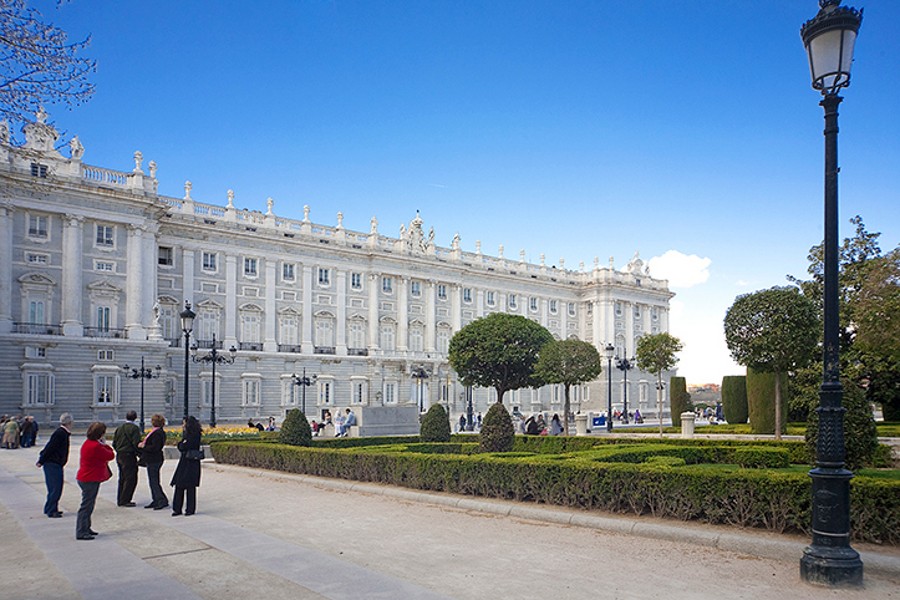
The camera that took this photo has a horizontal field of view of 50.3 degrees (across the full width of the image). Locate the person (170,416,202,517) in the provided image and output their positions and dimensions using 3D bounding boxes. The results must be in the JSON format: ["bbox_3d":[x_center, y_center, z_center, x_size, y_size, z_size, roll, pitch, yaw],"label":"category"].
[{"bbox_3d":[-7.483,4.704,27.239,0.772,2.800,1.165,3,-10,-15],"label":"person"}]

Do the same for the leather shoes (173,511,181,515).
[{"bbox_3d":[-7.666,5.970,26.761,0.271,0.140,0.192,3,-10,-12],"label":"leather shoes"}]
